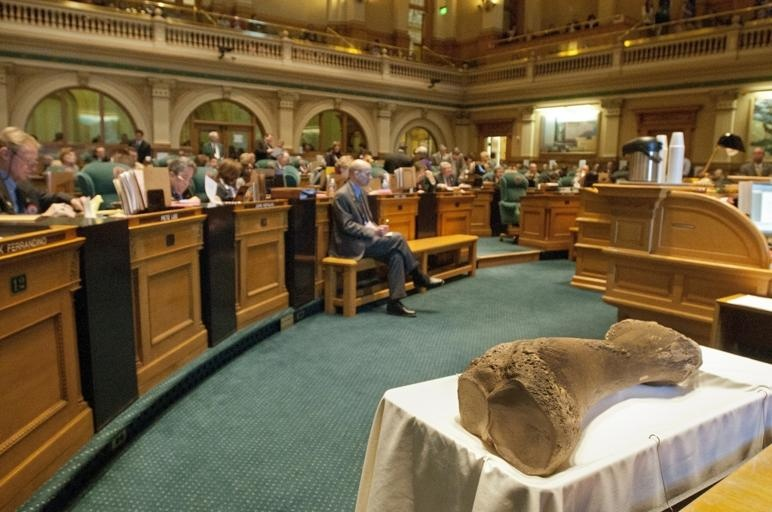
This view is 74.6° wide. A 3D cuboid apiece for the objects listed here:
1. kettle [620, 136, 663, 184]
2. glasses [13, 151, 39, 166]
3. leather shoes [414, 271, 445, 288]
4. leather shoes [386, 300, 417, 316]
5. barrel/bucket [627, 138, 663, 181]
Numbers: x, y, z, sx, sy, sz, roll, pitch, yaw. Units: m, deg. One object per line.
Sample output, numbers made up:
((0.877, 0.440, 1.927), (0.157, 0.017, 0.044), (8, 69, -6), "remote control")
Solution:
((2.137, -0.820, 4.350), (0.326, 0.440, 0.408), (-10, 15, -42), "kettle")
((-2.376, -0.669, 3.406), (0.109, 0.100, 0.221), (-1, 13, -7), "glasses")
((0.474, 0.308, 6.012), (0.444, 0.152, 0.190), (2, -18, 0), "leather shoes")
((0.142, 0.582, 5.630), (0.384, 0.184, 0.135), (1, 4, 14), "leather shoes")
((2.167, -0.800, 4.276), (0.253, 0.370, 0.310), (-4, 6, -44), "barrel/bucket")
